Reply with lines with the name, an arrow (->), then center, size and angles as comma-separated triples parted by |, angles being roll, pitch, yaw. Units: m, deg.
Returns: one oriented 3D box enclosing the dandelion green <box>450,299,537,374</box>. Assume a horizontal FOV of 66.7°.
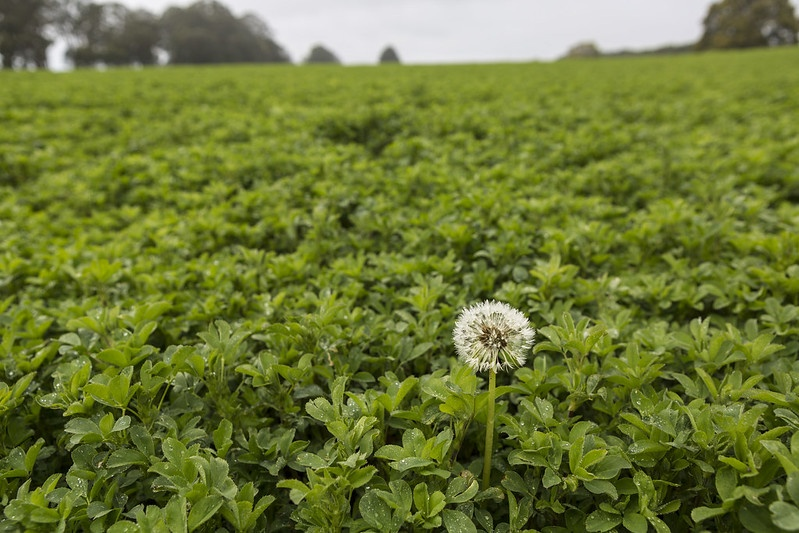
dandelion green -> 0.595, 0.455, 4.062 | 0.494, 0.507, 0.492 | -8, 64, 1
